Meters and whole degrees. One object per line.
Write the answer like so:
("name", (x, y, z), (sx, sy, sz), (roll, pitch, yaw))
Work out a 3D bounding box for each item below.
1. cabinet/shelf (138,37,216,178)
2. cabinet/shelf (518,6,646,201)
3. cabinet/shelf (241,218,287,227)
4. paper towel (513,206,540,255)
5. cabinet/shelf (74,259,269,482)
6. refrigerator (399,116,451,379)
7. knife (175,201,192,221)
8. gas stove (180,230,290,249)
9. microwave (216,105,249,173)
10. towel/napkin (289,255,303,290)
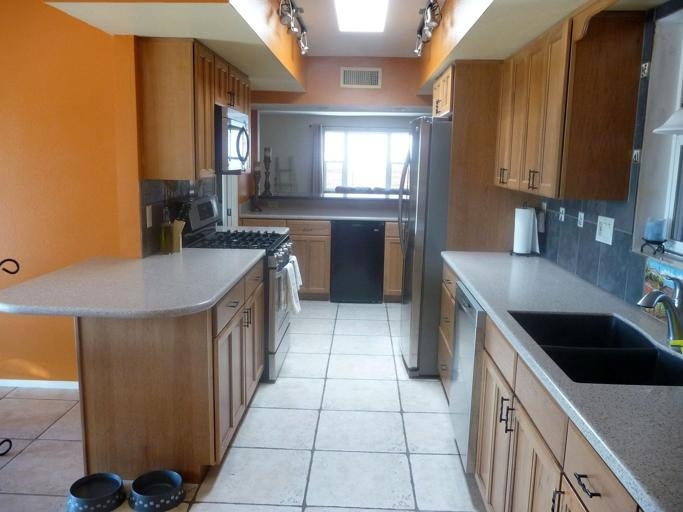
("cabinet/shelf", (-1.111, -1.004, 3.392), (0.280, 0.734, 0.756), (-1, 12, -3))
("cabinet/shelf", (1.346, -0.783, 2.695), (0.370, 0.946, 0.128), (2, 12, 6))
("cabinet/shelf", (-0.888, -0.394, 5.844), (0.545, 0.084, 0.122), (5, 14, 15))
("paper towel", (1.401, -0.195, 3.857), (0.202, 0.350, 0.191), (4, 13, 13))
("cabinet/shelf", (-1.027, 0.682, 3.472), (0.738, 1.012, 1.500), (-1, 6, -1))
("refrigerator", (0.663, -0.073, 4.093), (0.320, 2.016, 0.490), (1, 12, 0))
("knife", (-1.207, -0.352, 3.918), (0.112, 0.227, 0.125), (2, 7, -3))
("gas stove", (-0.817, -0.156, 4.195), (0.715, 0.082, 0.752), (3, 14, 7))
("microwave", (-0.868, -0.928, 4.037), (0.172, 0.310, 0.610), (0, 11, -3))
("towel/napkin", (-0.389, 0.128, 4.401), (0.079, 0.264, 0.250), (-1, 7, -4))
